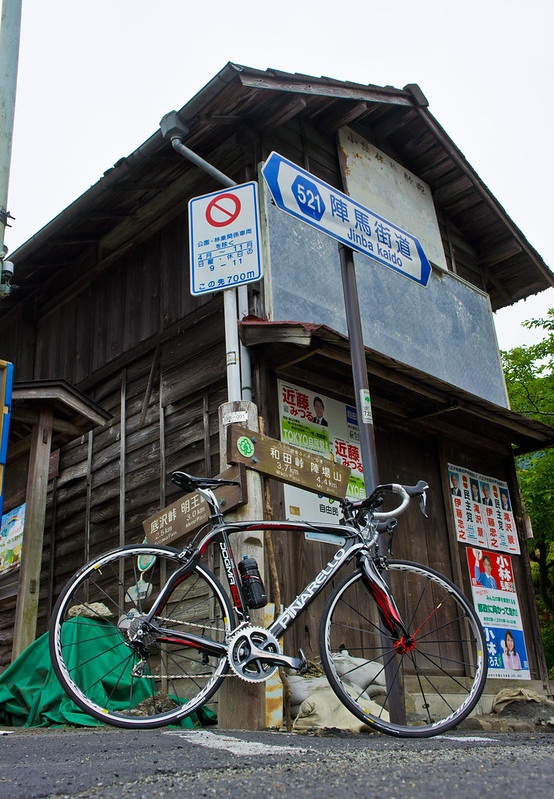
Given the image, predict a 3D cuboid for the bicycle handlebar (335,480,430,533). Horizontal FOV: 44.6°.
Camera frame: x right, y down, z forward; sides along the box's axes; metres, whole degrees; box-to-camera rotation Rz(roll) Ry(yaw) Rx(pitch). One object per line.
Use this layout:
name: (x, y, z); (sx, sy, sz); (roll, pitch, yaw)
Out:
bicycle handlebar: (0.626, 0.551, 3.686); (0.498, 0.255, 0.329); (10, -25, -38)

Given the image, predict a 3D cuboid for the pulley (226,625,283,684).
pulley: (-0.105, 1.163, 3.221); (0.250, 0.258, 0.250); (10, -8, -2)

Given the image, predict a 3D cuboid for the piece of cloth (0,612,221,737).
piece of cloth: (-1.076, 1.753, 4.310); (1.212, 0.530, 1.079); (-7, -32, -3)
